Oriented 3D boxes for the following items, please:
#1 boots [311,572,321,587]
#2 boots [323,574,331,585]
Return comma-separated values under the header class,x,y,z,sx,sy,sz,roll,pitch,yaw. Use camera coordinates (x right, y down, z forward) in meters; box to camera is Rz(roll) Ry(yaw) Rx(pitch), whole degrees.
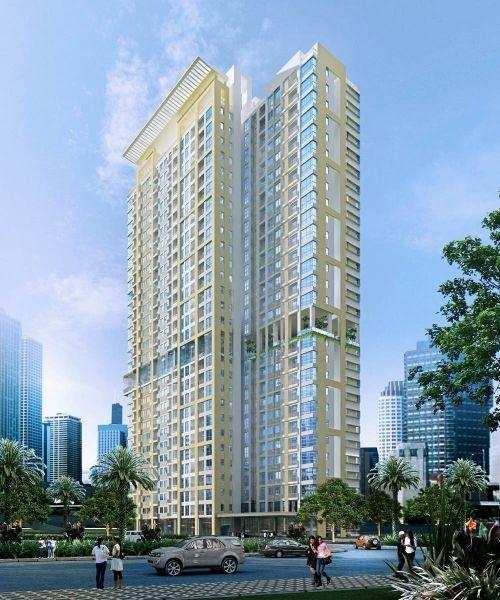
class,x,y,z,sx,sy,sz,roll,pitch,yaw
boots,2.518,10.565,33.236,0.334,0.503,0.697,-3,-16,4
boots,3.001,10.814,33.850,0.216,0.421,0.576,2,-3,1
